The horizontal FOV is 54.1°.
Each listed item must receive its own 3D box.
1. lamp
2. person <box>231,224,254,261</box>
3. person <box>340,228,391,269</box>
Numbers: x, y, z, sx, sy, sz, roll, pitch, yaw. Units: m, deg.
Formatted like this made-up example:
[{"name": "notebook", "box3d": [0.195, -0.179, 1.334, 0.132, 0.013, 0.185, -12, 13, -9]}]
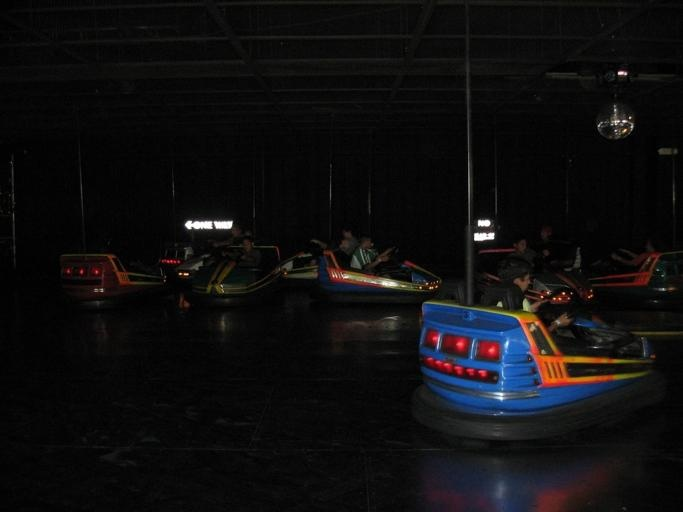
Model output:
[{"name": "lamp", "box3d": [5.166, -2.821, 12.468, 0.567, 1.178, 5.528, 5, 13, 22]}, {"name": "person", "box3d": [-2.158, -0.275, 14.573, 0.326, 0.322, 0.993, -12, -5, -12]}, {"name": "person", "box3d": [0.411, -0.082, 13.353, 1.008, 0.637, 0.697, 8, 19, 8]}]
